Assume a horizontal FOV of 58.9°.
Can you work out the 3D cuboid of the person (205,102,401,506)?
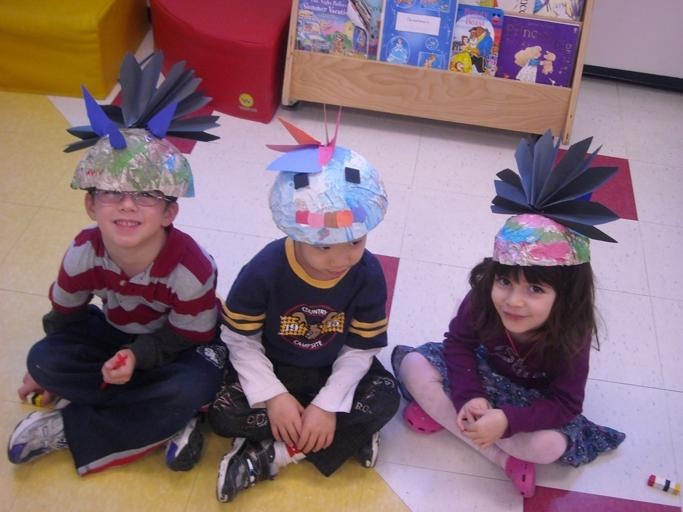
[{"bbox_3d":[-0.101,0.198,1.702,0.533,0.950,0.762,13,30,13],"label":"person"}]

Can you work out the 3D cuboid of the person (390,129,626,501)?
[{"bbox_3d":[0.527,0.174,1.843,0.692,0.949,0.519,16,32,28],"label":"person"}]

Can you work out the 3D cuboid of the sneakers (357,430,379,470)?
[{"bbox_3d":[0.083,0.611,1.876,0.054,0.142,0.046,8,32,3],"label":"sneakers"}]

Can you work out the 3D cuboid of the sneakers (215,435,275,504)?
[{"bbox_3d":[-0.281,0.628,1.818,0.112,0.095,0.273,12,39,10],"label":"sneakers"}]

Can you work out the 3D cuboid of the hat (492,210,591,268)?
[{"bbox_3d":[0.594,-0.034,1.805,0.308,0.153,0.315,4,-4,4],"label":"hat"}]

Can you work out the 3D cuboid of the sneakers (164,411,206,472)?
[{"bbox_3d":[-0.471,0.573,1.899,0.072,0.078,0.179,-4,40,43],"label":"sneakers"}]

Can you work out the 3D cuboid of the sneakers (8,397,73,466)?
[{"bbox_3d":[-0.922,0.535,1.836,0.180,0.169,0.131,-9,33,-27],"label":"sneakers"}]
